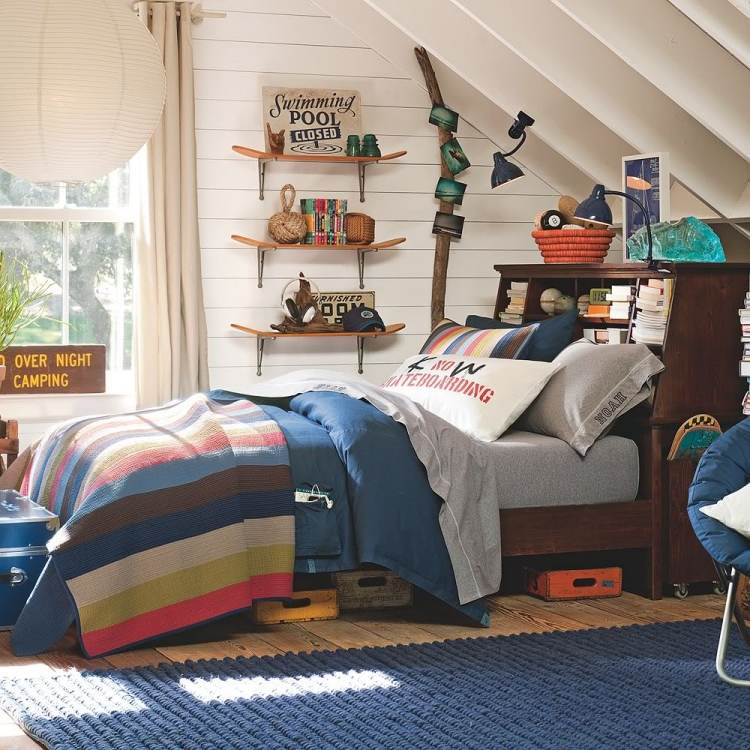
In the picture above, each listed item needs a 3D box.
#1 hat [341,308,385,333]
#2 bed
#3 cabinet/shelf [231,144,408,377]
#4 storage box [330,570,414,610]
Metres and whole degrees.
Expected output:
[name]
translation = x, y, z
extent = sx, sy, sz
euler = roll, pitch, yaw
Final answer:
[hat]
translation = -0.076, -0.305, 4.570
extent = 0.165, 0.070, 0.194
euler = -1, 8, -16
[bed]
translation = 0.199, 0.333, 2.740
extent = 1.415, 0.435, 0.933
euler = -1, 5, -23
[cabinet/shelf]
translation = -0.305, -0.674, 4.638
extent = 1.021, 1.349, 0.438
euler = 1, -4, -9
[storage box]
translation = -0.006, 0.708, 2.660
extent = 0.260, 0.079, 0.157
euler = 0, -4, -20
